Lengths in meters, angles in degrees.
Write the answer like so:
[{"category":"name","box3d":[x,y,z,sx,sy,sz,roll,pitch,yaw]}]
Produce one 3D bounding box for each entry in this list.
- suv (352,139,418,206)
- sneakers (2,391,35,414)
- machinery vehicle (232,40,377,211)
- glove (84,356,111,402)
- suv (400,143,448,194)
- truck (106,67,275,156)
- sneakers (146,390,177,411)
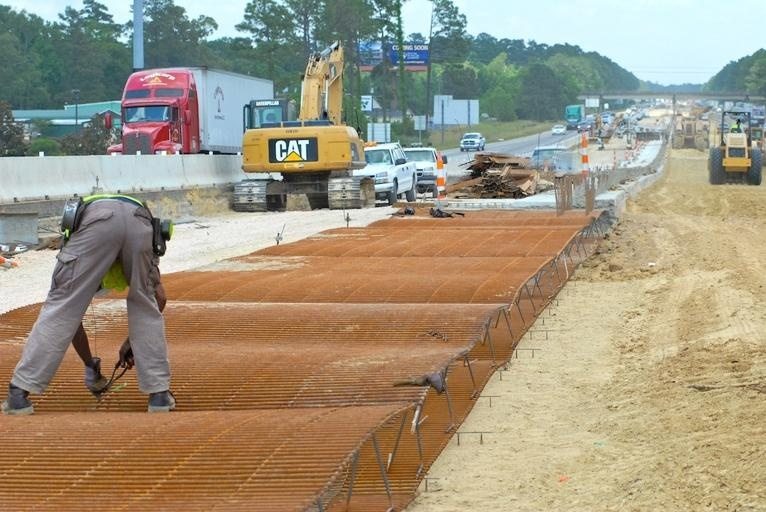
[{"category":"suv","box3d":[0.028,-2.308,26.594,1.315,0.933,2.431,-1,1,15]},{"category":"sneakers","box3d":[-3.102,1.251,8.295,0.235,0.197,0.203,3,-7,-24]},{"category":"machinery vehicle","box3d":[-1.791,-3.537,25.782,3.332,4.270,4.367,0,5,10]},{"category":"glove","box3d":[-2.598,1.044,8.807,0.197,0.166,0.446,-8,44,-5]},{"category":"suv","box3d":[1.271,-2.645,29.404,1.361,0.961,2.196,0,1,7]},{"category":"truck","box3d":[-5.249,-4.135,28.475,2.242,2.331,6.460,2,4,17]},{"category":"sneakers","box3d":[-1.943,1.273,8.561,0.125,0.133,0.300,2,5,12]}]
